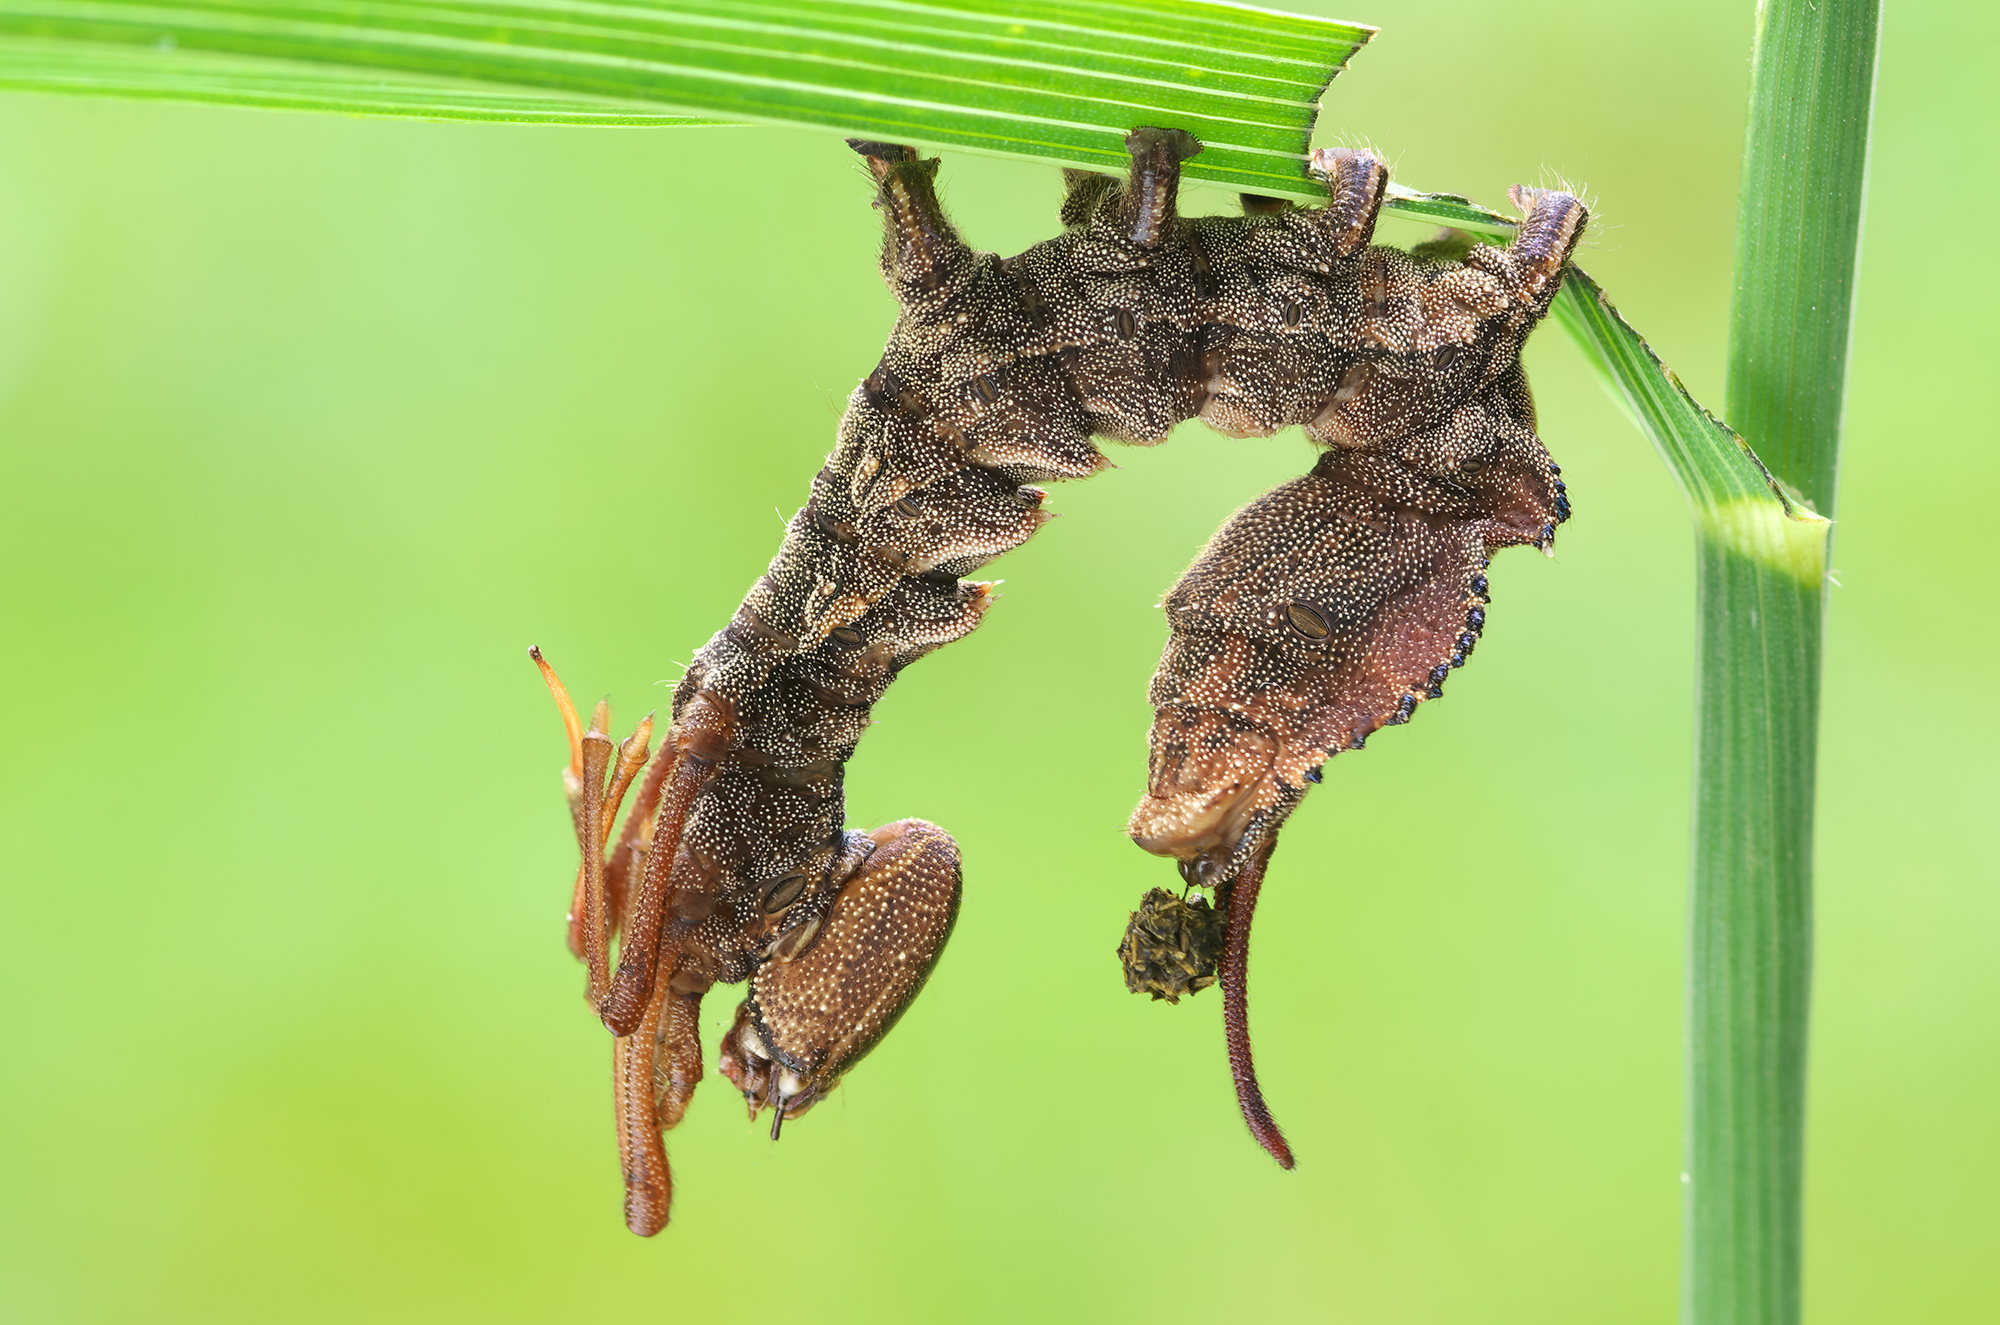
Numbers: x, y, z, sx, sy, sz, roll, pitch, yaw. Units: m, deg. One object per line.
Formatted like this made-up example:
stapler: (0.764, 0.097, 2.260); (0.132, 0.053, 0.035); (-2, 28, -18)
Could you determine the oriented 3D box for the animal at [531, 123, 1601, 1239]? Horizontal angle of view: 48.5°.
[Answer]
animal: (0.031, 0.020, 1.196); (0.404, 0.271, 0.657); (18, -58, -13)
